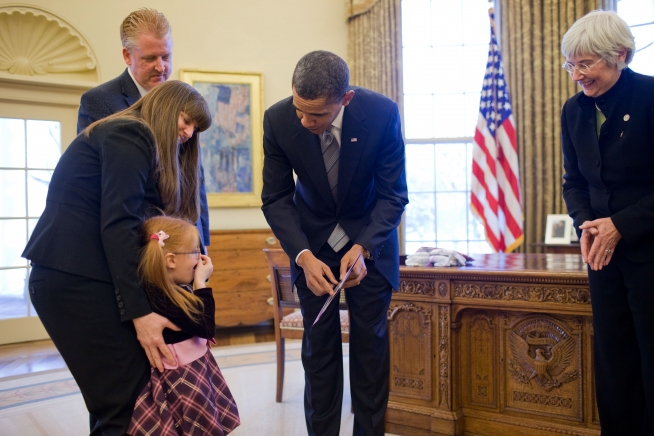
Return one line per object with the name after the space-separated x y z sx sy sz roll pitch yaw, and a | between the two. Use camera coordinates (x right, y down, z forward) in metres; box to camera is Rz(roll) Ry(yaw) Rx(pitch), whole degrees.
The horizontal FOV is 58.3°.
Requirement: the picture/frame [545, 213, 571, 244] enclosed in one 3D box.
2.537 0.133 6.421 0.301 0.260 0.021 -6 -19 19 | picture/frame

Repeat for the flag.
1.847 -0.918 6.511 0.537 2.611 0.406 -2 3 17 | flag

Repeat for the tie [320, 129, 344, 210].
0.020 -0.305 3.523 0.118 0.440 0.052 -3 9 3 | tie

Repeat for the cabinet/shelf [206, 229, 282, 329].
-0.865 0.622 5.948 1.004 0.997 0.364 -1 -2 -15 | cabinet/shelf
